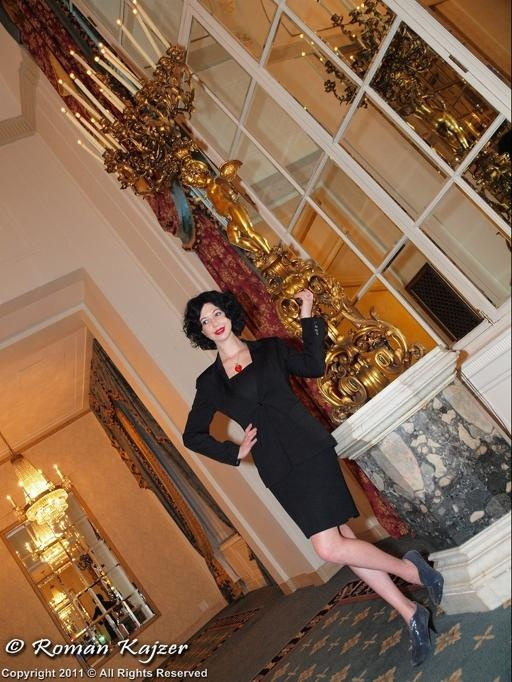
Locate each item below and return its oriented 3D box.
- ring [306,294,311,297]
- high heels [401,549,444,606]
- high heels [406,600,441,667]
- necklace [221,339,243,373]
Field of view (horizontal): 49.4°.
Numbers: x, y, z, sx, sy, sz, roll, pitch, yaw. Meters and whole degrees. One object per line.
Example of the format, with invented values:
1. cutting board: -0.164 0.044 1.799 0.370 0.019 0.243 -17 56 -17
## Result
1. ring: 0.210 -0.184 2.262 0.004 0.013 0.015 22 -113 -82
2. high heels: 0.603 0.834 2.010 0.069 0.216 0.090 3 -58 -31
3. high heels: 0.547 0.969 1.842 0.061 0.091 0.174 114 161 -59
4. necklace: -0.107 0.076 2.395 0.048 0.096 0.112 21 -113 -65
